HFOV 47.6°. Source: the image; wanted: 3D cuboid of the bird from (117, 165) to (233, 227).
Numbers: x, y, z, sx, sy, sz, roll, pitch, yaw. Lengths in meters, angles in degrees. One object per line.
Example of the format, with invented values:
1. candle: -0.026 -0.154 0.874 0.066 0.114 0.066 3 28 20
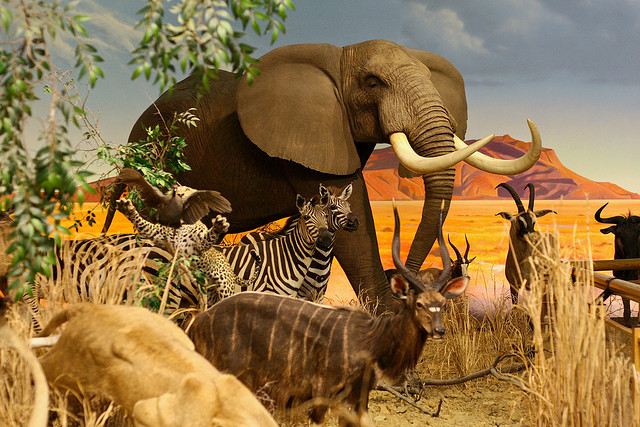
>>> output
1. bird: -1.041 -0.099 5.243 0.660 0.298 0.431 15 -12 -4

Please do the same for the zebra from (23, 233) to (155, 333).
1. zebra: -1.643 0.479 5.263 0.854 0.585 1.062 3 0 -14

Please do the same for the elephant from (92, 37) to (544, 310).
1. elephant: 0.091 -0.661 6.843 3.824 2.398 2.365 -9 -4 25
